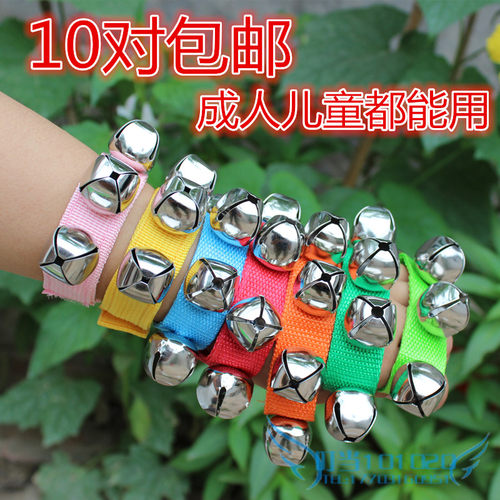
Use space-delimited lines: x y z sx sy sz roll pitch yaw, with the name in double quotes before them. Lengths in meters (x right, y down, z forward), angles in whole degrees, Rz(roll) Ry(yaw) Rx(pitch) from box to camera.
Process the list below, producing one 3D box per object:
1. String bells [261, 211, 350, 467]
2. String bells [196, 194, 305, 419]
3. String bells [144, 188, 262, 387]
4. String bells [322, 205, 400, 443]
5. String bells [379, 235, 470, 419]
"String bells" 0.066 0.077 0.601 0.091 0.114 0.317 14 77 -2
"String bells" -0.010 0.045 0.604 0.110 0.110 0.286 7 81 -8
"String bells" -0.050 0.045 0.622 0.178 0.079 0.204 15 85 -4
"String bells" 0.127 0.071 0.599 0.080 0.101 0.283 12 80 -1
"String bells" 0.211 0.089 0.634 0.071 0.133 0.209 10 69 47
